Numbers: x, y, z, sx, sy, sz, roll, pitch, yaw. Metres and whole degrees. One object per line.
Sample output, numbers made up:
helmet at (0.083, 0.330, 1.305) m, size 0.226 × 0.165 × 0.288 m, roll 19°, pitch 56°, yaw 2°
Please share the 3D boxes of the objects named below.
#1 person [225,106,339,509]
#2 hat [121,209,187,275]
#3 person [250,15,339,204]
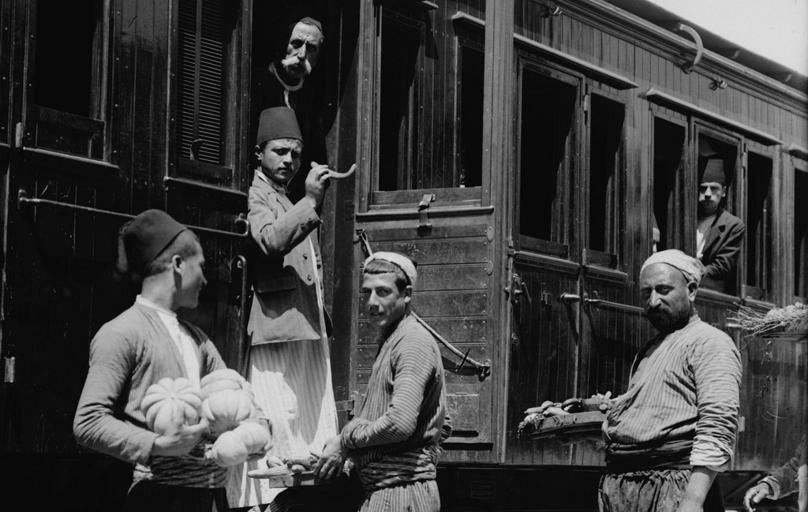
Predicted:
person at (-1.043, 0.364, 19.665) m, size 1.101 × 3.250 × 0.964 m, roll 0°, pitch -7°, yaw 22°
hat at (-1.954, -0.181, 18.055) m, size 0.505 × 0.330 × 0.353 m, roll 3°, pitch 14°, yaw 21°
person at (-0.956, -1.338, 20.646) m, size 0.741 × 1.555 × 0.594 m, roll 4°, pitch -2°, yaw 36°
